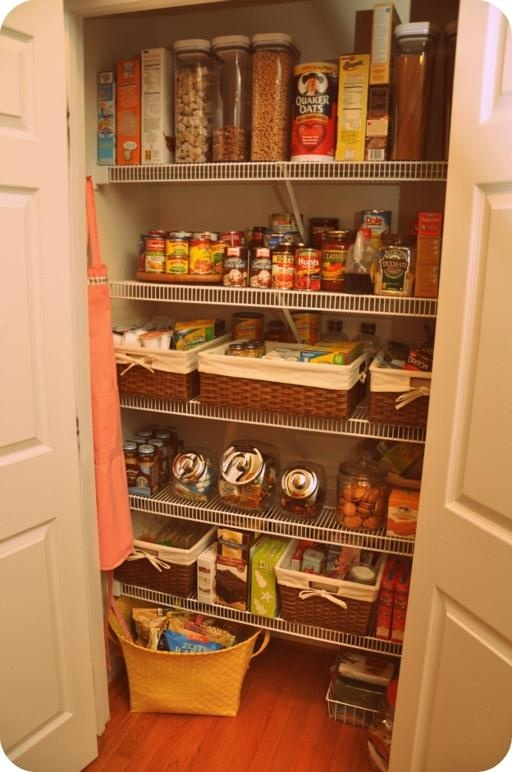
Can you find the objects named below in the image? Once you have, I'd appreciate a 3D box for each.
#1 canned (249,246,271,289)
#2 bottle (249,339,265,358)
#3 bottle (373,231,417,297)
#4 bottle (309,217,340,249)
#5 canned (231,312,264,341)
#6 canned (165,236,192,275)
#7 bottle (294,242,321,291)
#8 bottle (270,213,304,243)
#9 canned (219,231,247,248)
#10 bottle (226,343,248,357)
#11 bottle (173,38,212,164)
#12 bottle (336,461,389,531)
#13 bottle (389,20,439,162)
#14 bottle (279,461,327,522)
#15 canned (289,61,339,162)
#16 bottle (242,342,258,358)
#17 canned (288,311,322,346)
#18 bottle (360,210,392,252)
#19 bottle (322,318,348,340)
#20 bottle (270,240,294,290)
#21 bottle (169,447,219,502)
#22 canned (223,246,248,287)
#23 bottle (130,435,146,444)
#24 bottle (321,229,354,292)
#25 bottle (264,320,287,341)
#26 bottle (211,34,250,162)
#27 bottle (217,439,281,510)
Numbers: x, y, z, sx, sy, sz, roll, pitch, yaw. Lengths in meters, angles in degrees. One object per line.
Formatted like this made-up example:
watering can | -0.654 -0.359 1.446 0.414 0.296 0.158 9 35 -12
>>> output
canned | 0.012 -0.311 1.587 0.061 0.102 0.035 2 9 7
bottle | 0.007 -0.109 1.694 0.043 0.045 0.045 4 14 8
bottle | 0.332 -0.289 1.437 0.091 0.158 0.053 6 -7 10
bottle | 0.174 -0.411 1.658 0.093 0.109 0.097 0 12 1
canned | -0.034 -0.185 1.888 0.088 0.105 0.091 11 23 26
canned | -0.216 -0.367 1.667 0.072 0.120 0.052 -1 9 -7
bottle | 0.131 -0.296 1.527 0.069 0.107 0.047 1 9 4
bottle | 0.086 -0.437 1.647 0.077 0.061 0.081 3 16 -1
canned | -0.062 -0.422 1.675 0.059 0.048 0.062 7 17 16
bottle | -0.050 -0.101 1.670 0.042 0.031 0.042 2 3 0
bottle | -0.171 -0.761 1.623 0.102 0.304 0.071 1 9 2
bottle | 0.293 0.310 1.678 0.137 0.168 0.142 4 5 6
bottle | 0.361 -0.669 1.384 0.094 0.287 0.069 2 9 12
bottle | 0.128 0.281 1.738 0.099 0.047 0.141 25 45 35
canned | 0.148 -0.685 1.534 0.170 0.227 0.177 1 13 -2
bottle | -0.016 -0.102 1.668 0.039 0.040 0.041 2 11 6
canned | 0.145 -0.174 1.814 0.082 0.102 0.096 -1 12 -3
bottle | 0.306 -0.396 1.541 0.088 0.154 0.091 -1 8 0
bottle | 0.247 -0.176 1.848 0.058 0.061 0.033 3 11 14
bottle | 0.071 -0.309 1.556 0.060 0.115 0.040 1 9 1
bottle | -0.198 0.274 1.868 0.127 0.143 0.134 11 29 6
canned | -0.057 -0.322 1.625 0.056 0.111 0.086 -6 11 -35
bottle | -0.372 0.166 1.895 0.028 0.010 0.028 3 8 0
bottle | 0.199 -0.319 1.543 0.086 0.155 0.089 3 15 -1
bottle | 0.064 -0.167 1.826 0.059 0.069 0.059 2 2 24
bottle | -0.067 -0.748 1.588 0.107 0.301 0.093 2 9 8
bottle | -0.015 0.247 1.797 0.172 0.189 0.181 5 1 8
